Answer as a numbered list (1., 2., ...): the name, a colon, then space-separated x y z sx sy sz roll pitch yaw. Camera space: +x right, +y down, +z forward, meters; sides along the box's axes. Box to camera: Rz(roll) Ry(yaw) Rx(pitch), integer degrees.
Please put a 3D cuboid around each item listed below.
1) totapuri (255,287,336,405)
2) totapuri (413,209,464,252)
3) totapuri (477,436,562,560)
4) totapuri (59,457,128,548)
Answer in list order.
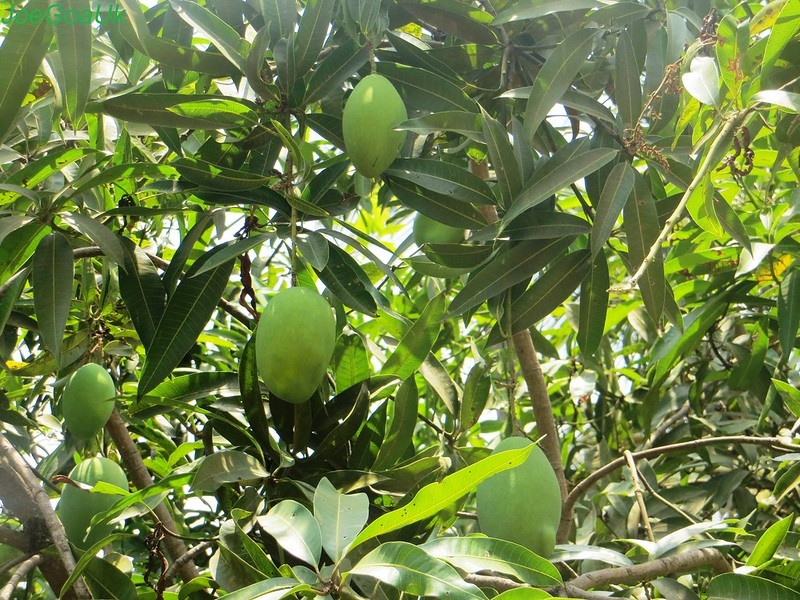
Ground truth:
1. totapuri: -0.179 0.080 1.513 0.136 0.234 0.137 4 24 2
2. totapuri: 0.081 -0.139 1.825 0.107 0.067 0.114 9 1 2
3. totapuri: 0.204 0.338 1.511 0.143 0.195 0.084 8 1 -3
4. totapuri: -0.588 0.405 1.752 0.131 0.161 0.199 8 1 -38
